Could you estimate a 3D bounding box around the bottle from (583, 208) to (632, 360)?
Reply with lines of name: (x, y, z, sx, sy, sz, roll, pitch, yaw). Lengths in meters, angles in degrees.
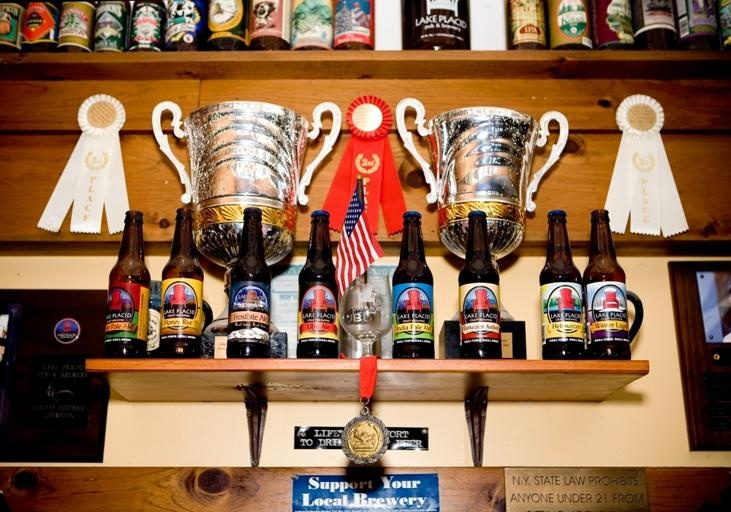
bottle: (0.576, 0.055, 1.717, 0.121, 0.391, 0.126, 1, -7, 0)

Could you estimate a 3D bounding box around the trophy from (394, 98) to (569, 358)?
trophy: (0.317, -0.134, 1.788, 0.323, 0.534, 0.247, 0, -9, -2)

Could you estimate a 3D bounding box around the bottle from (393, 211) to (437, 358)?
bottle: (0.106, 0.074, 1.676, 0.105, 0.367, 0.115, 0, -11, 0)

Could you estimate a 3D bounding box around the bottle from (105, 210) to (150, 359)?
bottle: (-0.581, 0.062, 1.698, 0.097, 0.361, 0.136, 1, -6, -18)

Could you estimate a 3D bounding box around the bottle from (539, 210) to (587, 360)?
bottle: (0.469, 0.070, 1.701, 0.114, 0.383, 0.116, 0, -7, 0)

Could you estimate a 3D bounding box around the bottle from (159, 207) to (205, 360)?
bottle: (-0.456, 0.061, 1.719, 0.105, 0.367, 0.185, 1, -5, -13)

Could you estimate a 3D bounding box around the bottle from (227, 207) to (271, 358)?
bottle: (-0.279, 0.058, 1.654, 0.096, 0.357, 0.074, 0, -6, -12)

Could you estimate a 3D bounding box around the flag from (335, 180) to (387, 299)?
flag: (-0.017, -0.033, 1.743, 0.101, 0.270, 0.080, 1, -3, 8)

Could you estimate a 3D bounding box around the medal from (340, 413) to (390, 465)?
medal: (-0.001, 0.423, 1.612, 0.105, 0.107, 0.038, -1, -5, -2)

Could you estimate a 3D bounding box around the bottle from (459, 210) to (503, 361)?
bottle: (0.277, 0.064, 1.692, 0.099, 0.357, 0.163, -2, -5, 9)

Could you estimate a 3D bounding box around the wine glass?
wine glass: (0.000, 0.124, 1.664, 0.120, 0.168, 0.062, -1, -5, -2)
